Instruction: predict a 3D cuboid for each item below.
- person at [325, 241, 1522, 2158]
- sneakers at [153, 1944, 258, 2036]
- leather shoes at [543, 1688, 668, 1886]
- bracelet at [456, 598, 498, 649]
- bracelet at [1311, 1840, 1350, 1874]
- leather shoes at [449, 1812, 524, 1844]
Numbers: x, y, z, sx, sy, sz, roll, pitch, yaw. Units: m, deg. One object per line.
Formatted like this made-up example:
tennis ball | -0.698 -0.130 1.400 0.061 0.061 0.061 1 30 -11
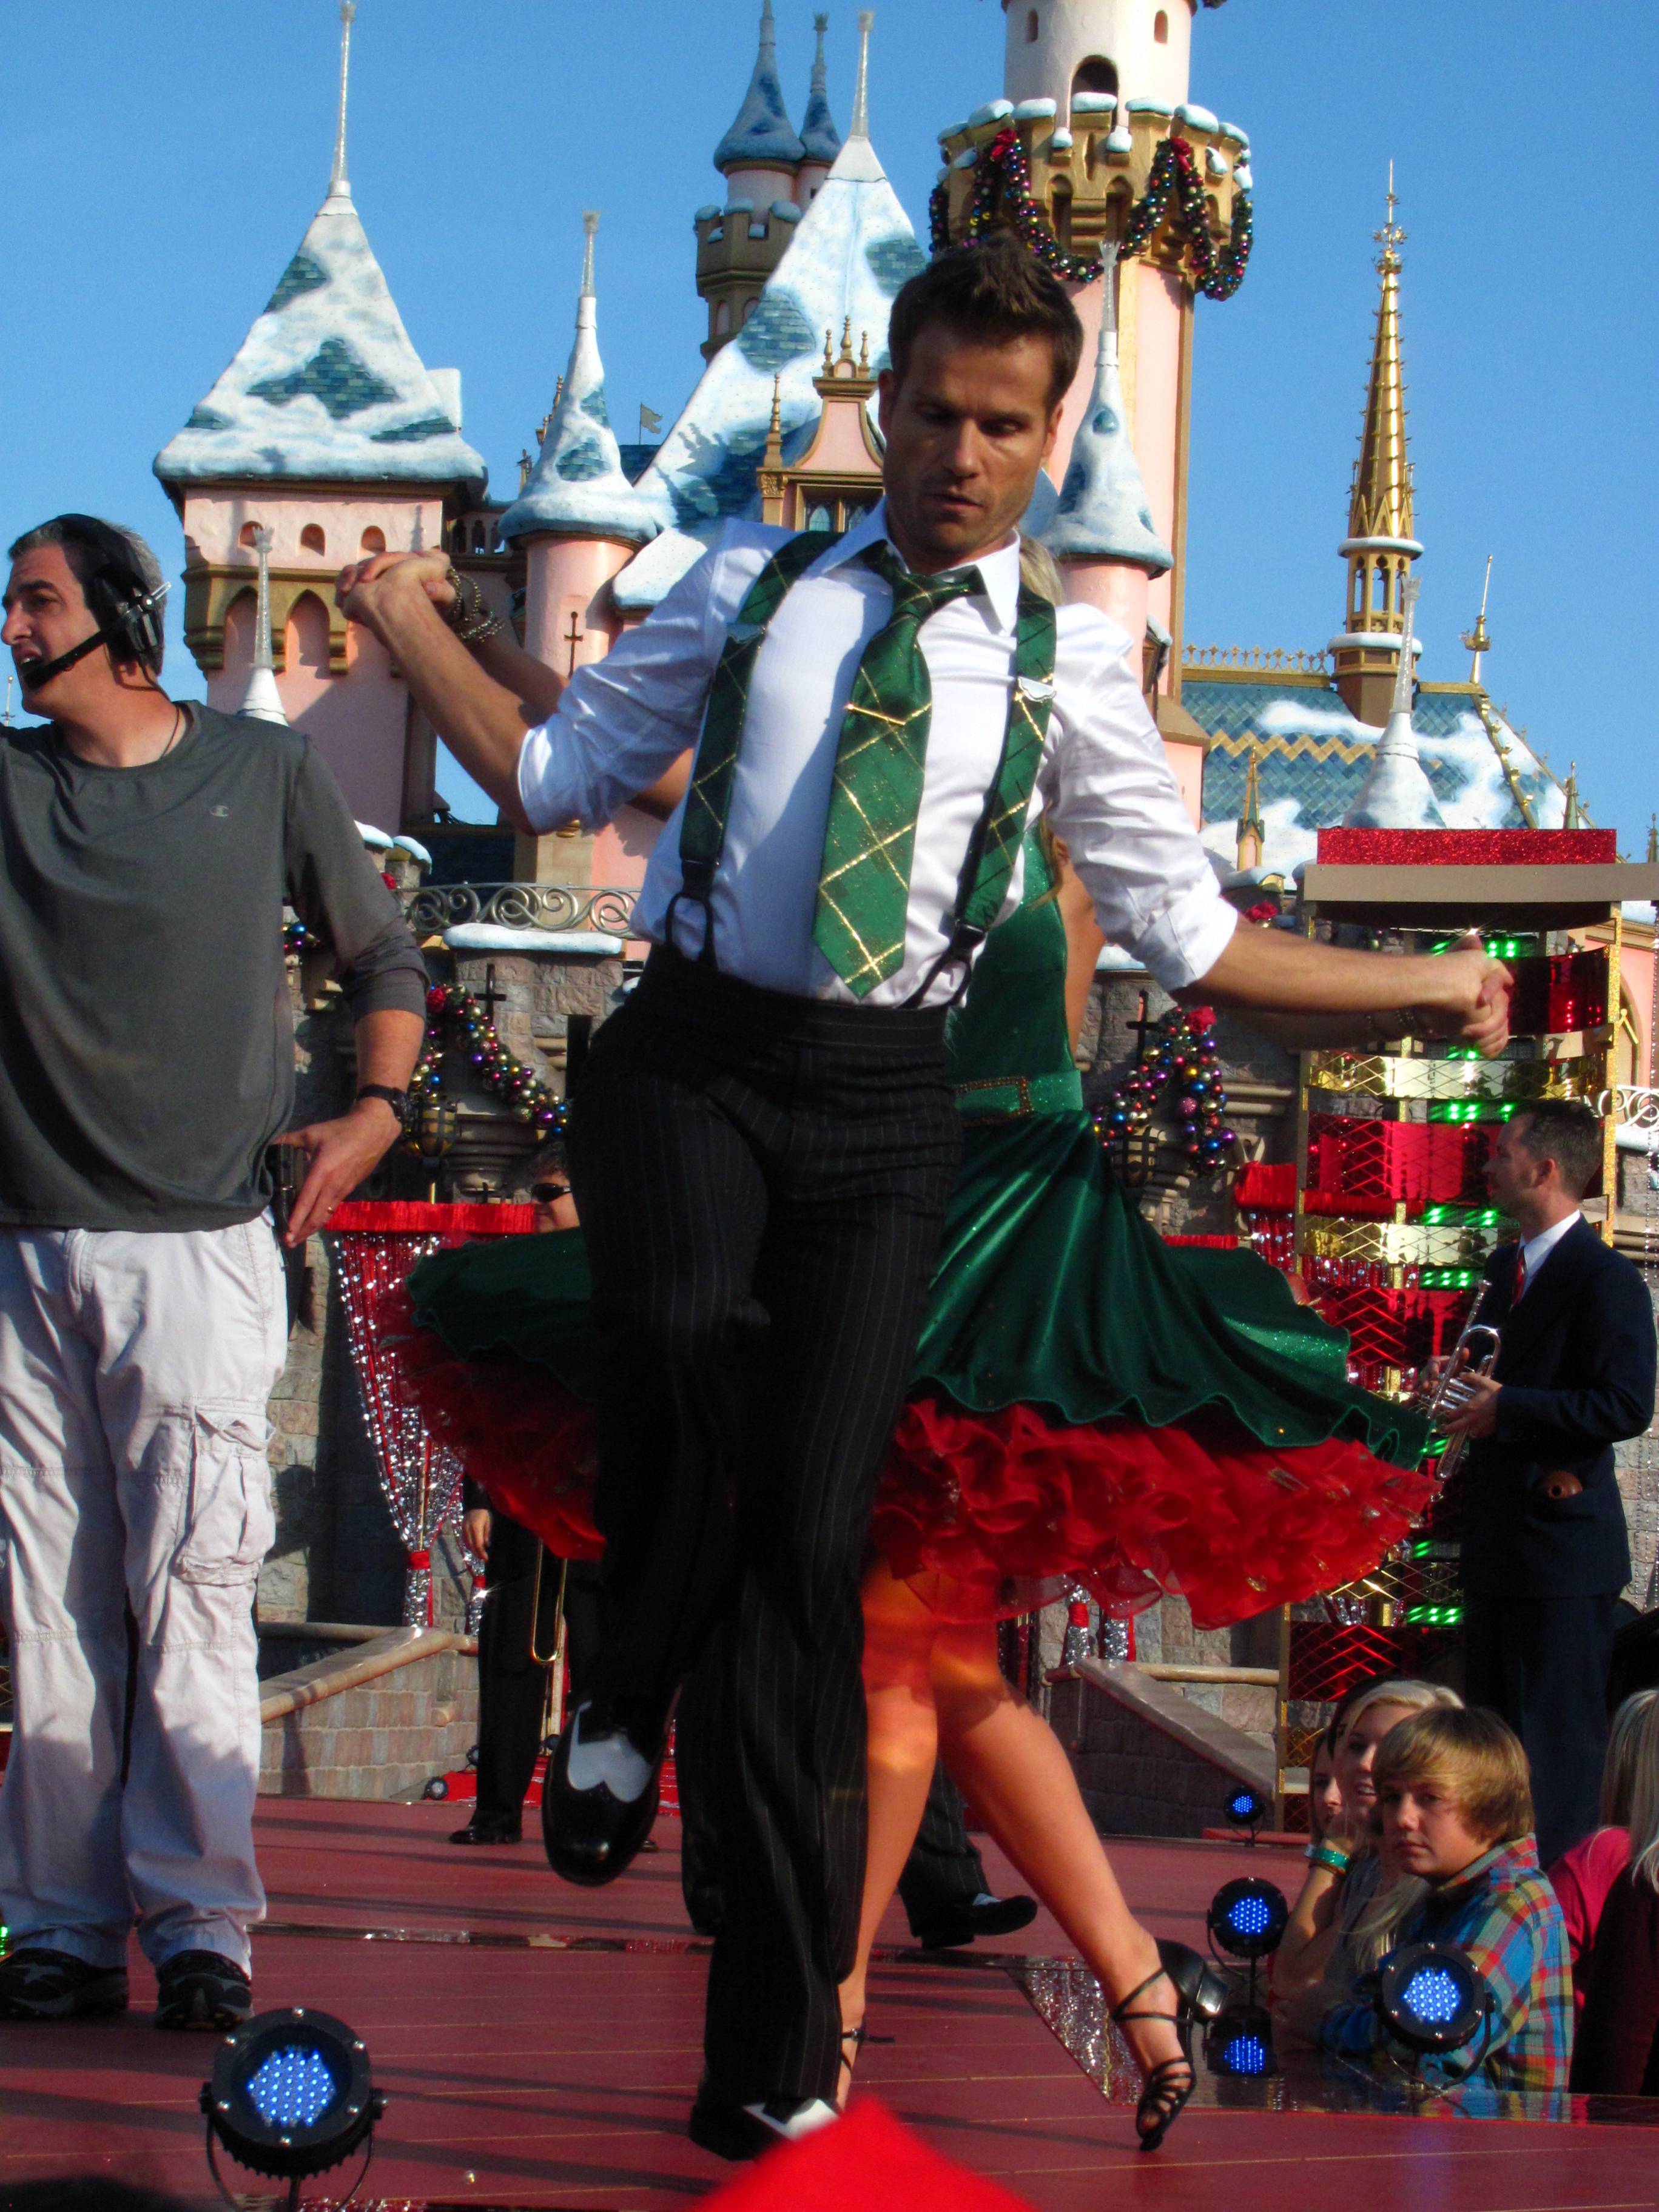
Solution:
person | -0.083 0.025 3.961 0.935 1.942 1.051 8 6 28
sneakers | -0.765 1.101 4.417 0.110 0.077 0.178 4 4 -9
leather shoes | -0.225 0.696 3.723 0.086 0.217 0.097 20 -48 -26
bracelet | -0.436 -0.580 4.408 0.057 0.051 0.058 2 -14 -13
bracelet | 0.855 1.323 6.287 0.058 0.032 0.051 0 -5 0
leather shoes | -0.810 1.736 8.577 0.067 0.059 0.176 -6 -16 39
